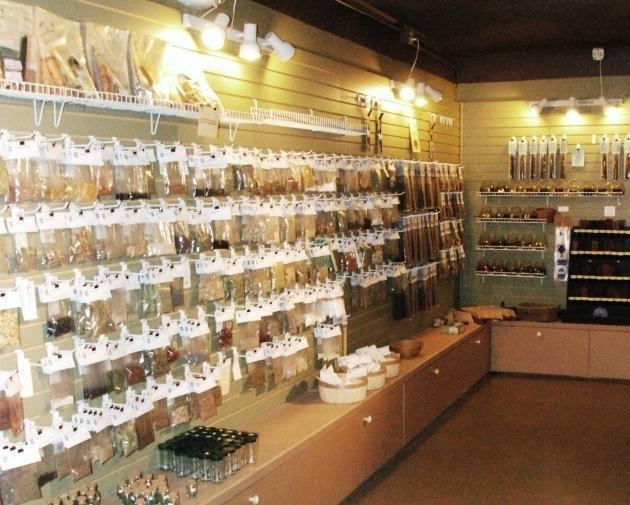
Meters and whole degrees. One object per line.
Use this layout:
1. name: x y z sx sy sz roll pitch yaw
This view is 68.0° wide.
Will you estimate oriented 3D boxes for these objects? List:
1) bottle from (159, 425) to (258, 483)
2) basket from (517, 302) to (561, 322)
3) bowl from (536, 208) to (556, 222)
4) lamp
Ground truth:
1. bottle: -0.646 1.180 2.774 0.520 0.196 0.363 0 4 18
2. basket: 3.107 0.847 6.550 0.347 0.141 0.319 1 1 33
3. bowl: 3.330 -0.547 6.711 0.214 0.157 0.213 -3 8 0
4. lamp: -0.348 -1.387 3.043 0.717 0.239 0.204 14 35 1
